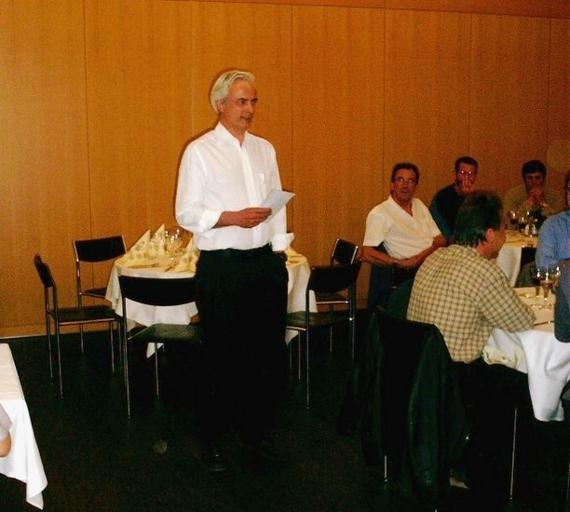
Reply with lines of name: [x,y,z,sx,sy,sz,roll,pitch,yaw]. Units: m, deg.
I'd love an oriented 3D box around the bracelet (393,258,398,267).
bracelet: [0.842,0.045,4.636,0.031,0.054,0.015,5,-16,20]

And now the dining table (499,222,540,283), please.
dining table: [1.654,-0.019,4.300,0.318,0.243,0.336,-11,20,-30]

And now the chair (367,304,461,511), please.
chair: [0.538,0.632,2.562,0.433,0.778,0.320,3,8,22]

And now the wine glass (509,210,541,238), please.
wine glass: [2.138,-0.300,5.333,0.199,0.201,0.243,-2,1,-4]

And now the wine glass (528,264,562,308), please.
wine glass: [1.257,0.145,2.939,0.132,0.281,0.170,-2,10,1]

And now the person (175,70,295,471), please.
person: [-0.237,0.119,2.949,0.484,1.956,0.469,1,8,9]
